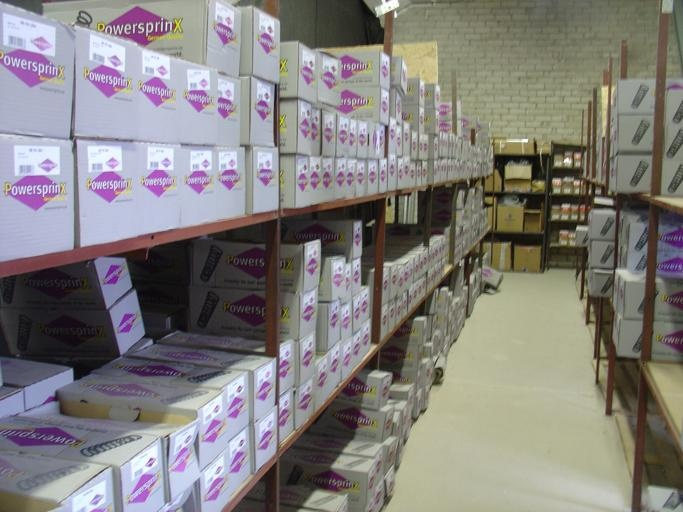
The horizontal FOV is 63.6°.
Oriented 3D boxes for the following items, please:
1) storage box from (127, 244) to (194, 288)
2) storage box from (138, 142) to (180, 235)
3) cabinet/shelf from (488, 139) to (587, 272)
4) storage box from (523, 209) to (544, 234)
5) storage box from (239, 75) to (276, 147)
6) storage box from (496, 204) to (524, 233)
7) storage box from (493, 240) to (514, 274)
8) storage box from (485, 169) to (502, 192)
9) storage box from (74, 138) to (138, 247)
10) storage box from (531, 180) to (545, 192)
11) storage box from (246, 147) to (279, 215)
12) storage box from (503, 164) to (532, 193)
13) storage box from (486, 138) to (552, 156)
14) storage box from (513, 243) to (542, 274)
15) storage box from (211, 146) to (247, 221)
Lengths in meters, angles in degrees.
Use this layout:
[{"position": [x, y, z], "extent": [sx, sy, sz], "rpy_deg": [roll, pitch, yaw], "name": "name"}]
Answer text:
[{"position": [-0.772, 0.051, 2.482], "extent": [0.320, 0.206, 0.234], "rpy_deg": [0, 1, 14], "name": "storage box"}, {"position": [-0.466, -0.170, 1.398], "extent": [0.104, 0.229, 0.210], "rpy_deg": [1, 5, 1], "name": "storage box"}, {"position": [3.312, -0.913, 9.417], "extent": [1.904, 2.140, 0.677], "rpy_deg": [1, 4, 0], "name": "cabinet/shelf"}, {"position": [3.292, -0.699, 9.460], "extent": [0.292, 0.577, 0.553], "rpy_deg": [3, 7, 20], "name": "storage box"}, {"position": [-0.277, -0.471, 1.782], "extent": [0.068, 0.214, 0.229], "rpy_deg": [1, 5, 12], "name": "storage box"}, {"position": [2.854, -0.628, 9.411], "extent": [0.394, 0.458, 0.427], "rpy_deg": [0, 3, 5], "name": "storage box"}, {"position": [2.839, -0.044, 9.772], "extent": [0.341, 0.571, 0.699], "rpy_deg": [1, 9, 13], "name": "storage box"}, {"position": [2.608, -1.276, 9.616], "extent": [0.299, 0.481, 0.462], "rpy_deg": [0, 8, 10], "name": "storage box"}, {"position": [-0.543, -0.144, 1.259], "extent": [0.067, 0.239, 0.222], "rpy_deg": [2, 5, 14], "name": "storage box"}, {"position": [3.362, -1.196, 9.514], "extent": [0.187, 0.138, 0.205], "rpy_deg": [2, 10, 4], "name": "storage box"}, {"position": [-0.267, -0.253, 1.829], "extent": [0.062, 0.197, 0.210], "rpy_deg": [0, 5, 10], "name": "storage box"}, {"position": [2.966, -1.323, 9.425], "extent": [0.422, 0.493, 0.468], "rpy_deg": [0, 19, 7], "name": "storage box"}, {"position": [3.092, -1.887, 9.539], "extent": [0.954, 0.301, 0.618], "rpy_deg": [1, 10, 7], "name": "storage box"}, {"position": [3.162, 0.042, 9.427], "extent": [0.402, 0.453, 0.428], "rpy_deg": [-2, 6, -8], "name": "storage box"}, {"position": [-0.345, -0.221, 1.664], "extent": [0.102, 0.224, 0.207], "rpy_deg": [0, 5, 17], "name": "storage box"}]
